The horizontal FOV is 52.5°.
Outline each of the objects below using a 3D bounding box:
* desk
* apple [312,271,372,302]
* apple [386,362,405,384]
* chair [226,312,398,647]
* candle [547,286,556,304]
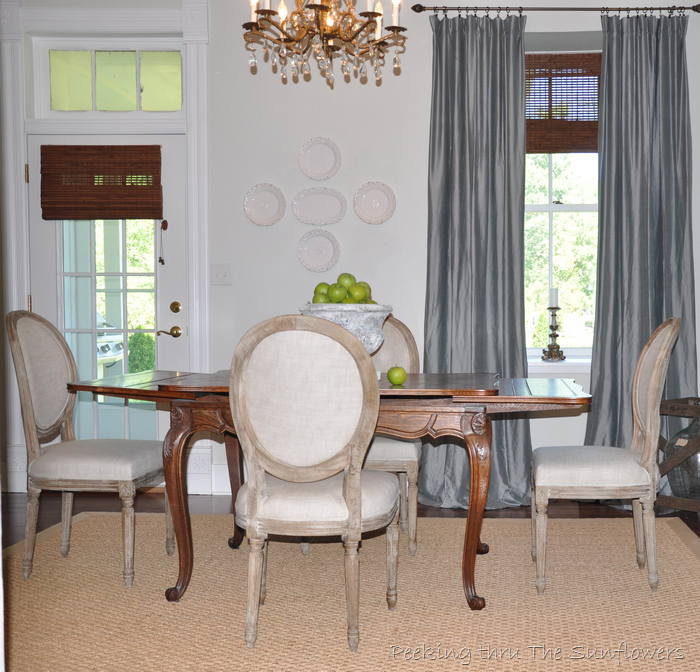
[{"bbox_3d":[-0.150,0.632,2.933,1.867,0.918,0.781,2,-4,-9],"label":"desk"},{"bbox_3d":[-0.041,-0.183,2.650,0.204,0.107,0.085,0,3,-6],"label":"apple"},{"bbox_3d":[0.166,0.136,2.636,0.061,0.081,0.066,-5,3,-9],"label":"apple"},{"bbox_3d":[-0.110,0.452,2.288,0.546,1.053,0.387,0,3,-2],"label":"chair"},{"bbox_3d":[1.204,-0.241,4.256,0.048,0.115,0.042,1,4,13],"label":"candle"}]
